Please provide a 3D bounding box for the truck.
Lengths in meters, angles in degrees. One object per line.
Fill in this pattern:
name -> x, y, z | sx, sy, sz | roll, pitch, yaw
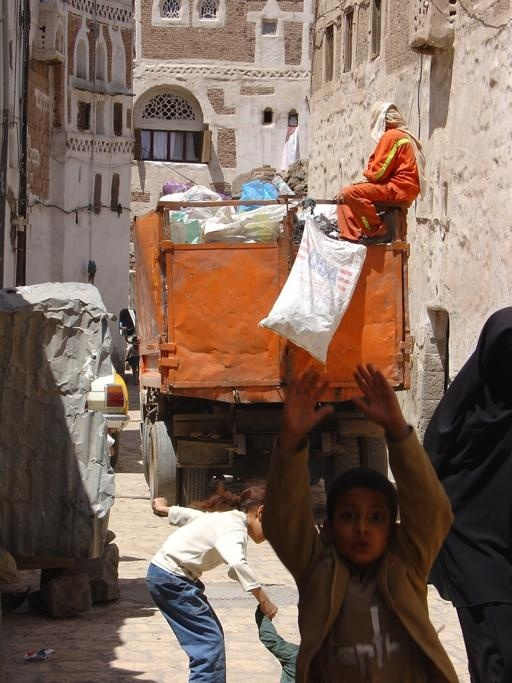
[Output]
truck -> -0.077, 0.202, 10.216 | 1.234, 1.886, 2.758 | -1, 0, -6

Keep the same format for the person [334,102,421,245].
person -> 0.946, -1.251, 9.818 | 0.589, 1.221, 0.567 | -13, -25, 27
